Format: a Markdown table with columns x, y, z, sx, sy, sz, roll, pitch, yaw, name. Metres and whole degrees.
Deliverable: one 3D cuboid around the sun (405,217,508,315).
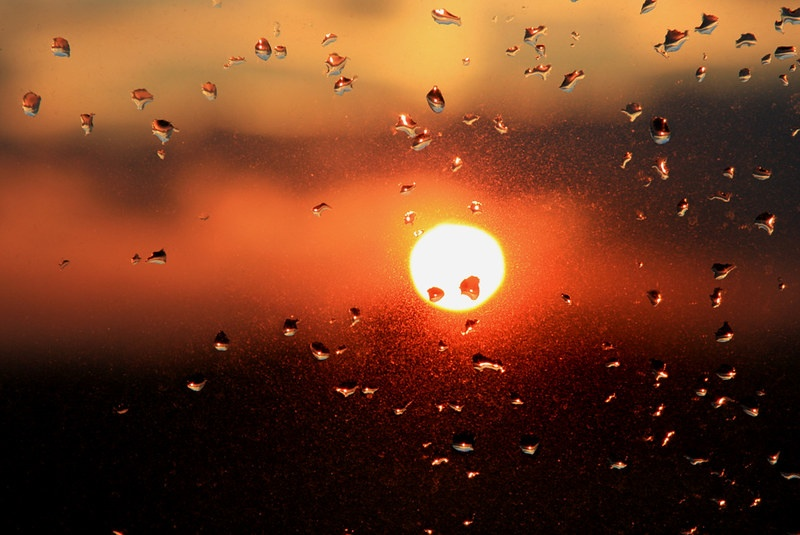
| x | y | z | sx | sy | sz | roll | pitch | yaw | name |
| --- | --- | --- | --- | --- | --- | --- | --- | --- | --- |
| 0.277 | 0.001 | 4.590 | 0.458 | 0.205 | 0.381 | -2 | -66 | -13 | sun |
